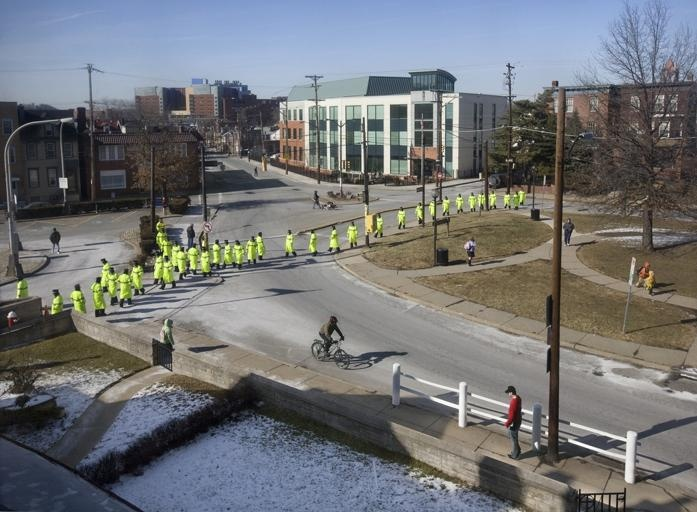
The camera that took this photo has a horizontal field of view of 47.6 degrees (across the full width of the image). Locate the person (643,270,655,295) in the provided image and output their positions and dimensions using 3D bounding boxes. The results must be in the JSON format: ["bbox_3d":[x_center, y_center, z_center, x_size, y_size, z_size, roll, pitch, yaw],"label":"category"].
[{"bbox_3d":[14.507,1.148,37.961,0.463,1.135,1.250,3,12,22],"label":"person"}]

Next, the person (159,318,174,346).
[{"bbox_3d":[-7.454,3.007,32.544,0.541,1.377,2.390,-4,12,-12],"label":"person"}]

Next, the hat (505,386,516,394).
[{"bbox_3d":[5.321,4.343,25.802,0.293,0.253,0.422,-3,-4,12],"label":"hat"}]

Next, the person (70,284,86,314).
[{"bbox_3d":[-12.471,1.929,36.499,0.519,1.327,1.967,-6,12,-21],"label":"person"}]

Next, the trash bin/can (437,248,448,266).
[{"bbox_3d":[5.154,0.021,43.112,0.774,0.821,0.783,0,5,11],"label":"trash bin/can"}]

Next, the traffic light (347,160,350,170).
[{"bbox_3d":[-0.034,-9.910,86.096,0.353,0.818,1.241,-4,11,-11],"label":"traffic light"}]

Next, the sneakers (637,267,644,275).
[{"bbox_3d":[14.232,0.654,38.259,0.139,0.384,0.294,35,-1,-17],"label":"sneakers"}]

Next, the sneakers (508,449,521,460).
[{"bbox_3d":[5.387,6.421,25.635,0.183,0.211,0.535,-9,5,-28],"label":"sneakers"}]

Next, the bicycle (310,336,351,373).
[{"bbox_3d":[-0.740,3.846,31.627,1.706,1.063,0.859,6,9,34],"label":"bicycle"}]
